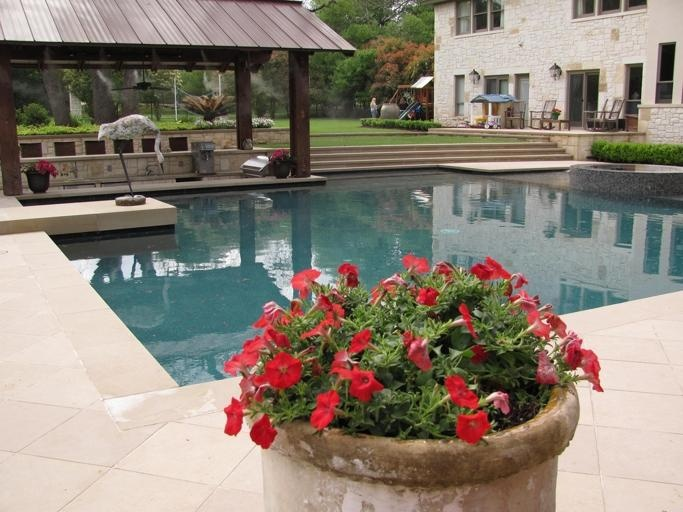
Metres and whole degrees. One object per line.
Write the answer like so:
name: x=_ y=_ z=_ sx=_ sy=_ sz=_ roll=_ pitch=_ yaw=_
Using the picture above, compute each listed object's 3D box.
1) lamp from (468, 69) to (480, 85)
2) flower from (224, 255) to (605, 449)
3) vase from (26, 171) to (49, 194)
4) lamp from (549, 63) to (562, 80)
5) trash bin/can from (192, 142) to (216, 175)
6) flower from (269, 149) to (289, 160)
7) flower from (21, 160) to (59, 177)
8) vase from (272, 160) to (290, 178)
lamp: x=7.763 y=-10.366 z=28.844 sx=0.579 sy=0.870 sz=0.736 roll=9 pitch=17 yaw=30
flower: x=0.174 y=0.393 z=1.980 sx=1.209 sy=0.520 sz=1.074 roll=4 pitch=0 yaw=-11
vase: x=-8.315 y=-2.023 z=13.820 sx=0.625 sy=0.464 sz=0.608 roll=0 pitch=1 yaw=-2
lamp: x=10.932 y=-9.402 z=25.390 sx=0.607 sy=0.794 sz=0.371 roll=11 pitch=18 yaw=34
trash bin/can: x=-4.606 y=-3.234 z=16.596 sx=0.695 sy=1.078 sz=0.587 roll=-4 pitch=16 yaw=-17
flower: x=-2.005 y=-3.261 z=16.248 sx=0.452 sy=0.364 sz=0.545 roll=-2 pitch=9 yaw=-5
flower: x=-8.230 y=-2.388 z=13.756 sx=0.953 sy=0.524 sz=0.802 roll=2 pitch=8 yaw=18
vase: x=-1.949 y=-2.780 z=16.083 sx=0.562 sy=0.385 sz=0.542 roll=0 pitch=2 yaw=5
